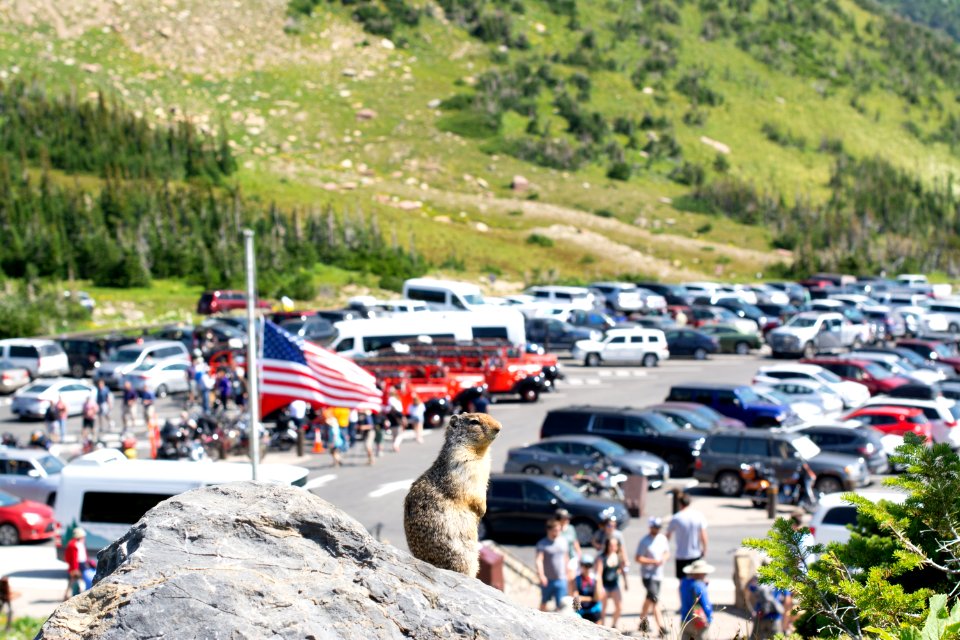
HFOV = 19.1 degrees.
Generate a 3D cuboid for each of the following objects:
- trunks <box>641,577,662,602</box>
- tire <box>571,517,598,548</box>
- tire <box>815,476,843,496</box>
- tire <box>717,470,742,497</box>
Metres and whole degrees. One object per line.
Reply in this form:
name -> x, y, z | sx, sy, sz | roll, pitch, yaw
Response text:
trunks -> 16.568, 25.525, 272.805 | 1.555, 1.837, 1.828 | 5, 9, 4
tire -> 10.373, 20.545, 277.535 | 2.492, 2.809, 0.878 | 1, -2, 0
tire -> 34.542, 16.450, 280.174 | 1.651, 1.862, 0.580 | 0, 2, 5
tire -> 24.970, 16.254, 282.021 | 2.189, 2.469, 0.767 | 1, 3, 5
